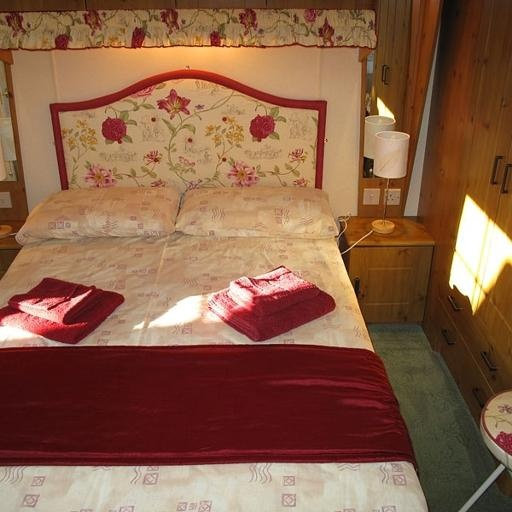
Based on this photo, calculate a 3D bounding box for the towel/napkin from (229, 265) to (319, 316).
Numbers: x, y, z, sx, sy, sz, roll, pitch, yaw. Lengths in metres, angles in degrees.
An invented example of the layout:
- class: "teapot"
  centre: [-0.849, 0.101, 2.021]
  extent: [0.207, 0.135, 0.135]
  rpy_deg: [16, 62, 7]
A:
- class: "towel/napkin"
  centre: [0.054, 0.153, 1.982]
  extent: [0.313, 0.071, 0.287]
  rpy_deg: [-5, 26, 2]

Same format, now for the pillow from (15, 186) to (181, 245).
- class: "pillow"
  centre: [-0.961, -0.267, 2.653]
  extent: [0.772, 0.159, 0.436]
  rpy_deg: [0, 34, -2]
